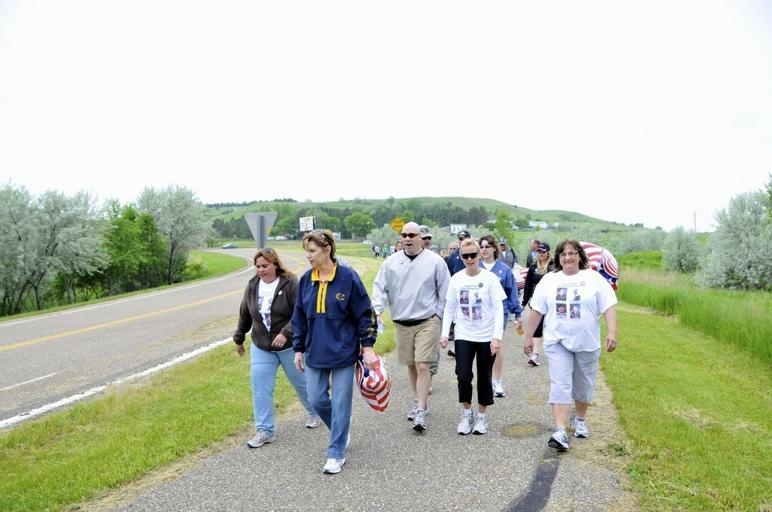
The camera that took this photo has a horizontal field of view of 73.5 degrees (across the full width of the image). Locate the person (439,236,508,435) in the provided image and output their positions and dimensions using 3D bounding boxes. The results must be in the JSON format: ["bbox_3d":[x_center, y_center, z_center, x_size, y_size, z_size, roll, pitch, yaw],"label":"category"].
[{"bbox_3d":[1.317,1.200,7.889,0.949,2.882,0.800,0,9,12],"label":"person"}]

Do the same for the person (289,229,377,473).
[{"bbox_3d":[-0.720,1.247,7.153,1.192,3.212,0.868,-2,9,0],"label":"person"}]

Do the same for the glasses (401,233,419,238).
[{"bbox_3d":[0.371,-0.331,8.046,0.236,0.087,0.109,-2,9,1],"label":"glasses"}]

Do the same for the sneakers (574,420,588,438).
[{"bbox_3d":[2.857,2.529,7.598,0.123,0.154,0.351,-1,-5,11],"label":"sneakers"}]

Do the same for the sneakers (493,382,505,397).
[{"bbox_3d":[1.994,2.365,9.157,0.129,0.170,0.357,-1,-4,2],"label":"sneakers"}]

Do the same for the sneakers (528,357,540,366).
[{"bbox_3d":[3.119,2.175,10.889,0.175,0.201,0.419,7,5,35],"label":"sneakers"}]

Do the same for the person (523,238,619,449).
[{"bbox_3d":[2.647,1.251,7.470,1.227,2.950,1.112,0,9,14],"label":"person"}]

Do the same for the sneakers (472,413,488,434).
[{"bbox_3d":[1.431,2.517,7.884,0.225,0.250,0.346,0,9,11],"label":"sneakers"}]

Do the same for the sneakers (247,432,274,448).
[{"bbox_3d":[-1.871,2.712,7.672,0.423,0.185,0.163,5,-7,-42],"label":"sneakers"}]

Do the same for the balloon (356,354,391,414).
[{"bbox_3d":[-0.153,1.784,7.410,0.354,0.681,0.689,-13,27,1],"label":"balloon"}]
